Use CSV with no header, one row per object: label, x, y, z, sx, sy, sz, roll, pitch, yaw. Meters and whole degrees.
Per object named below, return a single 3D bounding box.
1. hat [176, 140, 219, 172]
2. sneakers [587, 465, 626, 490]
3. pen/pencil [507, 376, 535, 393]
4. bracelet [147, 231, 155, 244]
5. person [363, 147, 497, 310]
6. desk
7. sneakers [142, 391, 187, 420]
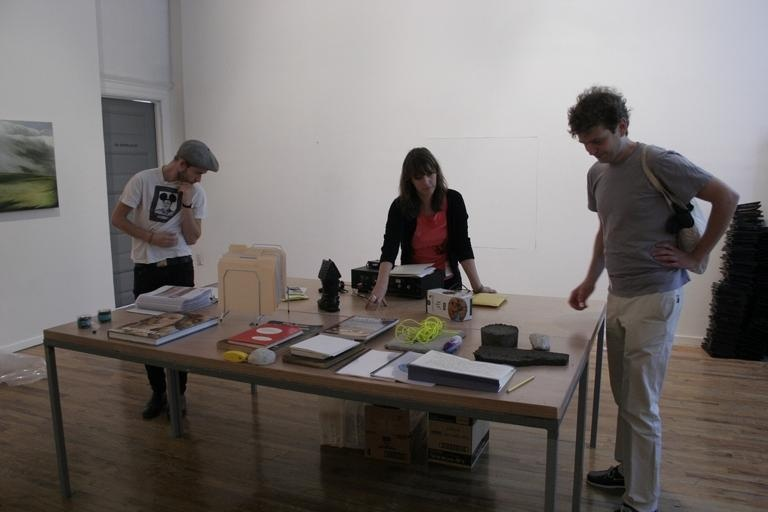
hat,-1.471,-0.750,4.119,0.363,0.179,0.263,23,18,14
sneakers,1.474,1.455,3.762,0.289,0.110,0.108,4,5,14
pen/pencil,0.666,0.637,2.800,0.166,0.017,0.015,-21,33,-32
bracelet,-1.837,-0.136,4.112,0.053,0.089,0.070,-8,17,-32
person,0.186,0.023,4.162,0.992,1.512,0.871,-4,9,-9
desk,-0.402,0.928,3.768,3.596,1.190,1.606,5,15,13
sneakers,-1.808,1.191,4.516,0.153,0.190,0.463,-1,-5,41
